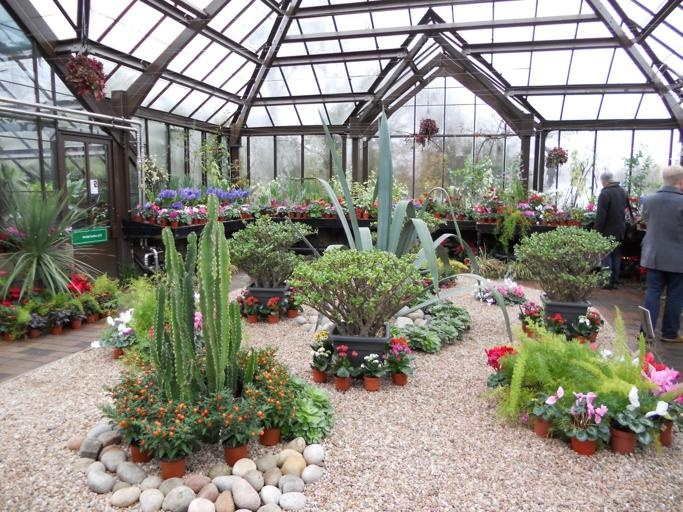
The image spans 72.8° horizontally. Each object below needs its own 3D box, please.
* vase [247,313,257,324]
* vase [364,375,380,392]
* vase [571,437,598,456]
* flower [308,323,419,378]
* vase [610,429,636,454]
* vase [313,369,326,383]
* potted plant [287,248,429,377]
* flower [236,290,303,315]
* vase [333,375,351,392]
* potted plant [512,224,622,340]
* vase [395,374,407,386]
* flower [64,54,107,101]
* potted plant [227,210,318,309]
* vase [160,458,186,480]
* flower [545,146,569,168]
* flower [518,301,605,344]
[{"bbox_3d":[-1.004,0.690,5.187,0.103,0.094,0.103,1,3,26],"label":"vase"},{"bbox_3d":[0.238,0.997,3.652,0.118,0.077,0.117,-1,1,23],"label":"vase"},{"bbox_3d":[1.552,1.200,2.954,0.119,0.079,0.127,0,-4,-7],"label":"vase"},{"bbox_3d":[0.168,0.768,3.780,0.625,0.249,0.412,1,1,4],"label":"flower"},{"bbox_3d":[1.790,1.162,2.975,0.152,0.111,0.149,0,-5,2],"label":"vase"},{"bbox_3d":[-0.180,0.975,3.822,0.113,0.081,0.112,1,5,16],"label":"vase"},{"bbox_3d":[0.074,0.447,3.982,0.975,0.980,0.998,0,-5,-10],"label":"potted plant"},{"bbox_3d":[-0.843,0.502,5.304,0.563,0.240,0.417,0,3,2],"label":"flower"},{"bbox_3d":[0.004,0.987,3.656,0.119,0.088,0.118,0,2,22],"label":"vase"},{"bbox_3d":[2.273,0.313,5.108,1.102,1.284,1.191,1,-3,3],"label":"potted plant"},{"bbox_3d":[0.474,0.988,3.742,0.103,0.073,0.101,0,-2,4],"label":"vase"},{"bbox_3d":[-3.271,-2.335,5.952,0.306,0.524,0.452,2,11,18],"label":"flower"},{"bbox_3d":[-0.832,0.040,5.491,1.062,1.100,0.960,8,11,18],"label":"potted plant"},{"bbox_3d":[-0.978,1.227,2.690,0.134,0.097,0.133,1,1,21],"label":"vase"},{"bbox_3d":[4.757,-2.211,10.404,0.494,0.486,0.466,4,5,-15],"label":"flower"},{"bbox_3d":[2.168,0.659,4.609,0.755,0.387,0.636,-3,11,-13],"label":"flower"}]
